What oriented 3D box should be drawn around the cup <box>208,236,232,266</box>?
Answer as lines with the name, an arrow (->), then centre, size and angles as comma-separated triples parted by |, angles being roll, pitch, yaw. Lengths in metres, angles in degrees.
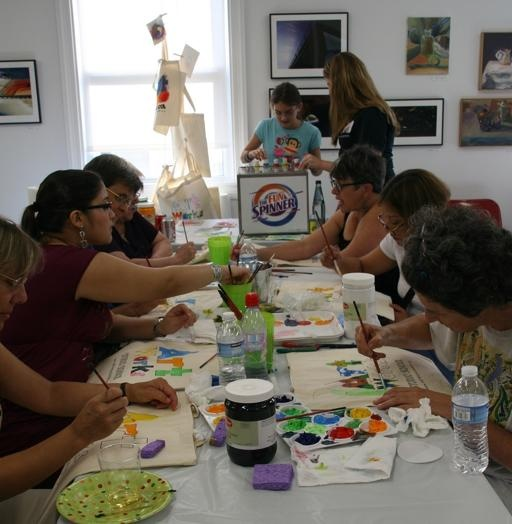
cup -> -0.126, -0.051, 1.949 | 0.127, 0.122, 0.119 | -2, 4, 0

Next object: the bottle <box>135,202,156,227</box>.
bottle -> -0.668, -0.314, 2.880 | 0.140, 0.130, 0.127 | -2, 5, -6

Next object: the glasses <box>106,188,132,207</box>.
glasses -> -0.629, -0.295, 2.115 | 0.074, 0.020, 0.074 | 27, 14, 30

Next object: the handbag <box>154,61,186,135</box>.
handbag -> -0.773, -1.489, 4.028 | 0.311, 0.554, 0.154 | -9, 15, -16

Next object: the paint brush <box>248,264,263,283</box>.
paint brush -> -0.003, 0.044, 1.492 | 0.025, 0.074, 0.030 | 25, 32, -14

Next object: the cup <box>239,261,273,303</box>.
cup -> 0.020, 0.070, 1.581 | 0.154, 0.138, 0.142 | -1, 6, 0

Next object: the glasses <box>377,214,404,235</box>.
glasses -> 0.525, -0.149, 1.798 | 0.079, 0.022, 0.075 | 23, 7, -31

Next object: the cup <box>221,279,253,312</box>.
cup -> -0.060, 0.113, 1.472 | 0.095, 0.083, 0.091 | -3, 7, 0

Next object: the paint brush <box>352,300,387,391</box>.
paint brush -> 0.309, 0.237, 1.260 | 0.014, 0.013, 0.284 | 0, 40, -28

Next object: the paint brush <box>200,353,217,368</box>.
paint brush -> -0.136, 0.277, 1.282 | 0.013, 0.006, 0.090 | -8, 8, 15
